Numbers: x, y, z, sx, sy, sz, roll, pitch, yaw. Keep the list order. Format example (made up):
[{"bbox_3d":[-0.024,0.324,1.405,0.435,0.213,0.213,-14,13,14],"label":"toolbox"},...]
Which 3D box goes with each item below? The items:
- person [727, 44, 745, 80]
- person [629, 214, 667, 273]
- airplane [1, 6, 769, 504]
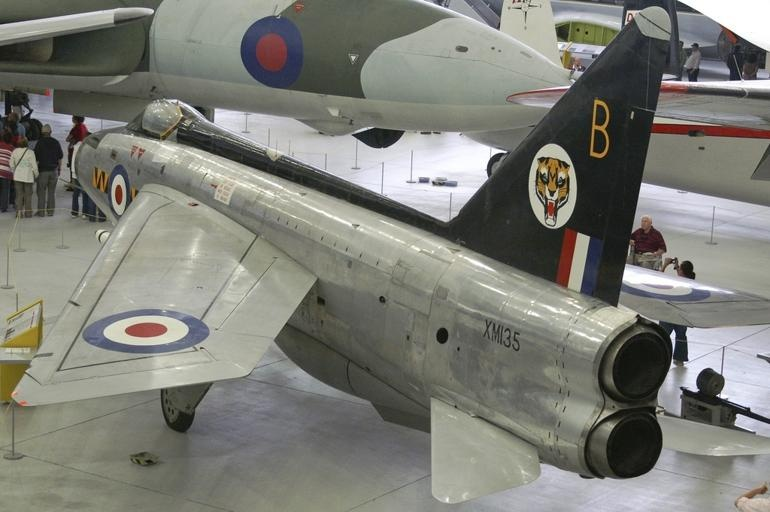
[{"bbox_3d":[13.451,-7.404,26.386,0.939,1.591,0.388,0,5,-35],"label":"person"},{"bbox_3d":[4.658,-0.044,12.222,0.694,1.223,0.421,5,-3,24],"label":"person"},{"bbox_3d":[-0.813,0.088,7.691,6.523,3.290,6.889,-3,24,-42],"label":"airplane"}]
